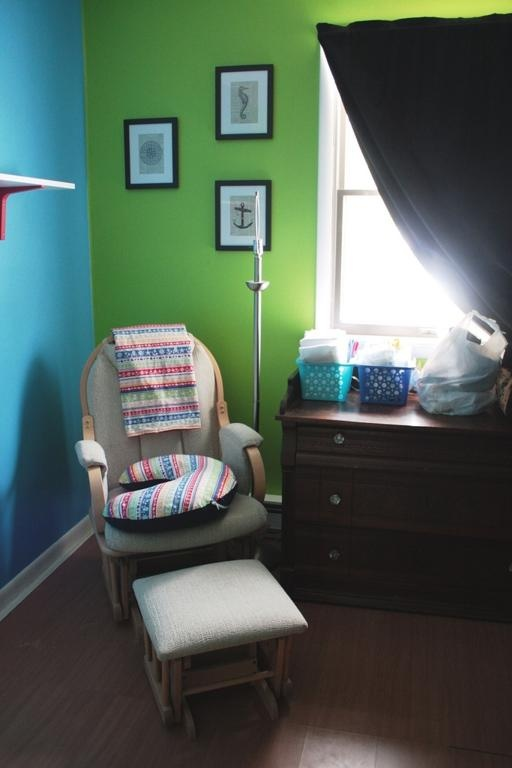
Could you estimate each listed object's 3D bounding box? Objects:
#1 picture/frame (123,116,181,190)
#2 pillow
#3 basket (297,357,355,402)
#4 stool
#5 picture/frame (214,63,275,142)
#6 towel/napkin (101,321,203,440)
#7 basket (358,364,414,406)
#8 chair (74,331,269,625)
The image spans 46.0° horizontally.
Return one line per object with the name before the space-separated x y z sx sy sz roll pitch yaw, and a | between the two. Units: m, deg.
picture/frame | -0.417 -0.954 2.463 0.260 0.319 0.024 4 17 12
pillow | -0.268 0.351 1.946 0.399 0.137 0.378 0 11 -1
basket | 0.248 -0.026 2.165 0.135 0.127 0.184 2 10 12
stool | -0.109 0.688 1.640 0.400 0.343 0.374 -3 14 -11
picture/frame | -0.037 -1.108 2.349 0.268 0.310 0.020 3 18 12
towel/napkin | -0.434 -0.016 2.303 0.147 0.397 0.491 -3 -6 40
basket | 0.444 -0.001 2.058 0.170 0.124 0.125 3 5 17
chair | -0.317 0.312 2.152 0.592 0.906 0.738 -6 11 -24
